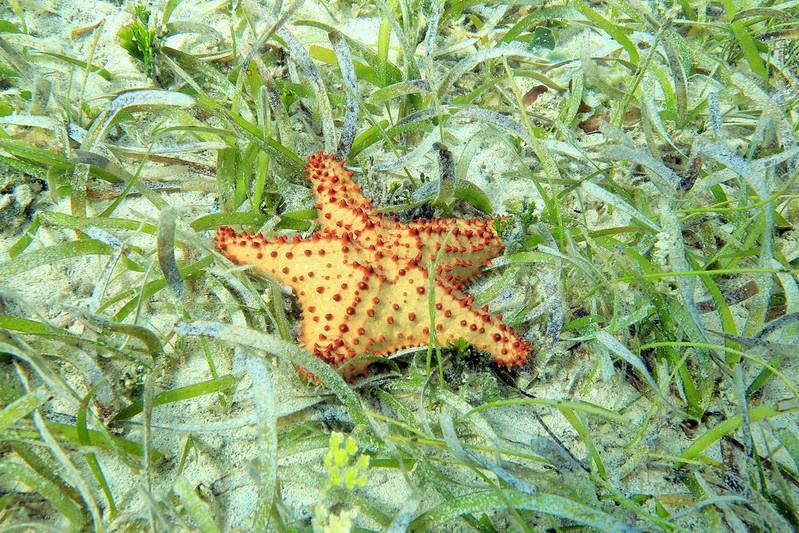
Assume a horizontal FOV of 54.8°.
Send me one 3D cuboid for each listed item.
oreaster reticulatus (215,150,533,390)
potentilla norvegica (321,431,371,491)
[{"bbox_3d":[-0.115,0.078,4.195,1.677,0.317,1.110,21,81,3],"label":"oreaster reticulatus"},{"bbox_3d":[-0.263,0.946,3.721,0.186,0.337,0.207,-14,34,-21],"label":"potentilla norvegica"}]
